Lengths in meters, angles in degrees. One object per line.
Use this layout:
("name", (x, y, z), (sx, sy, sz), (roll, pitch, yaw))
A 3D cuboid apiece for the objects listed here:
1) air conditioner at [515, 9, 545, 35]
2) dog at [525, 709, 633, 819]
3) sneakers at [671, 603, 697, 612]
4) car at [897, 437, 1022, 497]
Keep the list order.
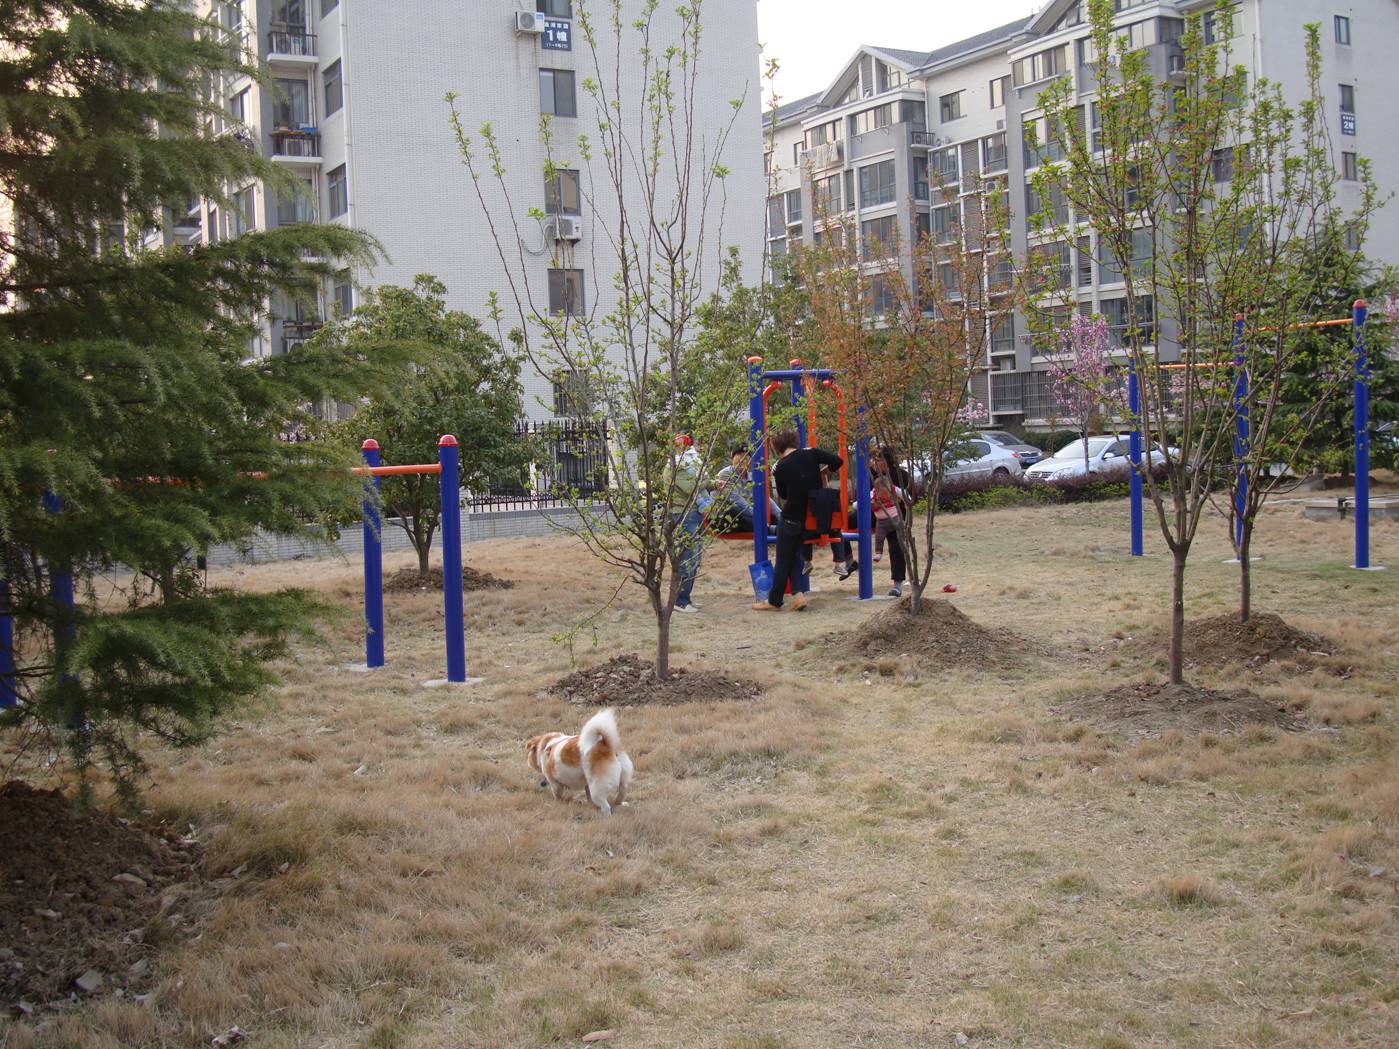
("air conditioner", (-3.722, -10.857, 36.372), (0.644, 0.488, 0.545), (-6, 15, -19))
("dog", (-0.756, 1.421, 10.551), (0.680, 0.662, 0.285), (11, 18, 42))
("sneakers", (-0.173, 0.844, 17.009), (0.225, 0.108, 0.090), (0, 2, 28))
("car", (4.230, -0.874, 27.116), (1.123, 1.053, 2.485), (6, 17, 42))
